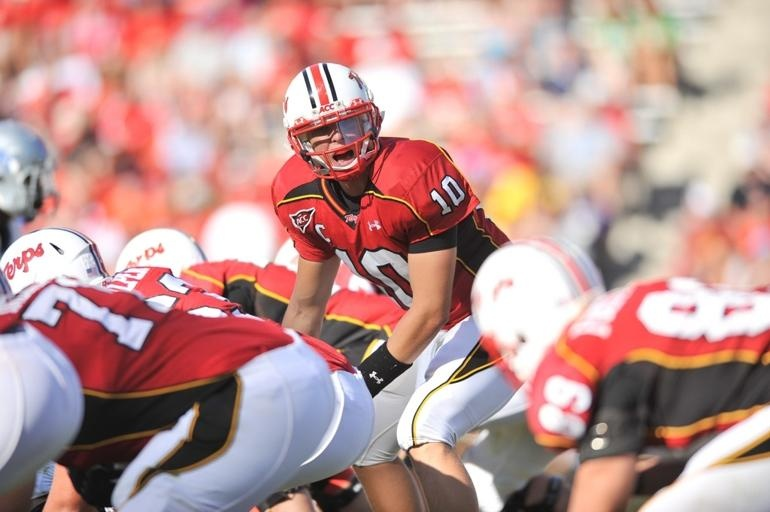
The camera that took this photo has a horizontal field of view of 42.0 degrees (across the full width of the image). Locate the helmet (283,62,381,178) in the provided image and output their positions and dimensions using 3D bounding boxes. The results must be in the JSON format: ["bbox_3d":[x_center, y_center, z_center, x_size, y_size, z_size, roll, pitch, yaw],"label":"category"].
[{"bbox_3d":[-0.237,-0.523,3.919,0.374,0.377,0.435,-17,36,4],"label":"helmet"}]
